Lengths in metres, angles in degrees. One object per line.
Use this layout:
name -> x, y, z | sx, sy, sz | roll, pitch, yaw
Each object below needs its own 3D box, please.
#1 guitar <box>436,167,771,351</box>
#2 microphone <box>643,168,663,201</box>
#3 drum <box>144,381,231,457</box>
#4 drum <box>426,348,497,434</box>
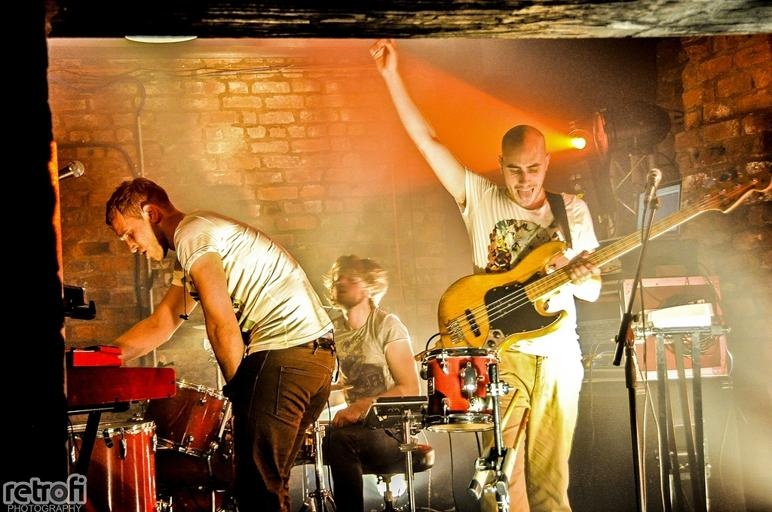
guitar -> 1.173, 0.123, 4.561 | 1.726, 0.917, 0.268 | -2, -6, -3
microphone -> 1.641, -0.436, 4.406 | 0.090, 0.217, 0.201 | -5, -6, 21
drum -> -1.455, 1.209, 5.523 | 0.640, 0.389, 0.593 | 10, -8, 1
drum -> 0.427, 0.824, 4.339 | 0.539, 0.402, 0.493 | 0, -12, 0
